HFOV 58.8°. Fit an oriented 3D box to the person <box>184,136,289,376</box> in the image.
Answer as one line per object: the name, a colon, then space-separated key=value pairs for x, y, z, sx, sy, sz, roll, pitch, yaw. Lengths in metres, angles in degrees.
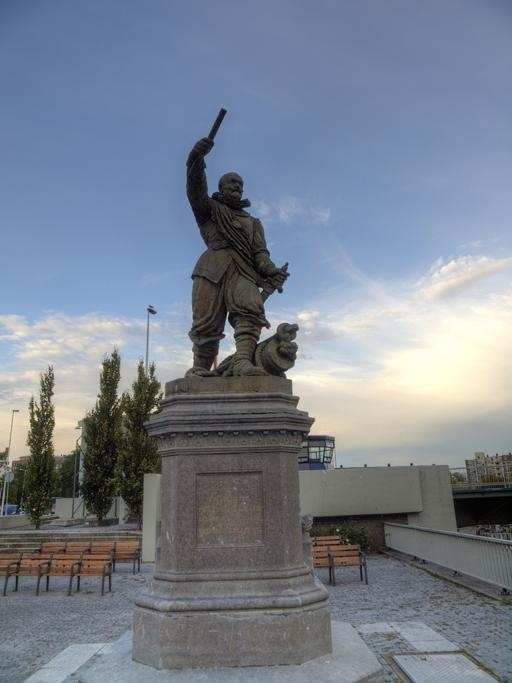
person: x=-0.413 y=-0.992 z=5.748 sx=1.427 sy=2.929 sz=0.963 roll=9 pitch=-17 yaw=-40
